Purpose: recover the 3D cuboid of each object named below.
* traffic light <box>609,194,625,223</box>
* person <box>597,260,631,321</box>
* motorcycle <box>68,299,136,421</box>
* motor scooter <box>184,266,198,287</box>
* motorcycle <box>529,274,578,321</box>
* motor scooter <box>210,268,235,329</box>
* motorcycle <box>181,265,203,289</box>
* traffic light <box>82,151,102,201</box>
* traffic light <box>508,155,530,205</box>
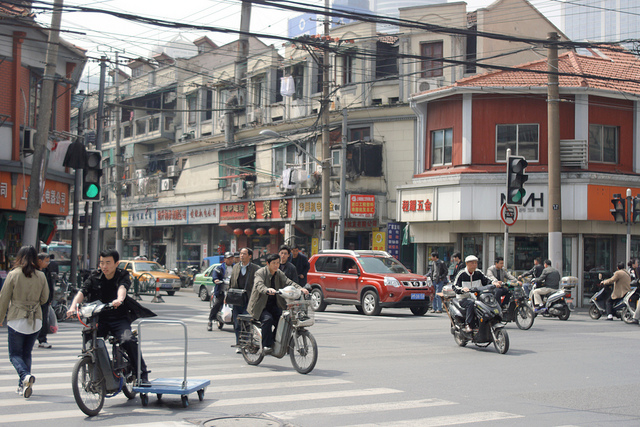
[{"bbox_3d":[12.348,-0.181,41.042,0.551,1.223,2.494,3,9,16],"label":"traffic light"},{"bbox_3d":[11.228,2.939,37.554,1.049,2.308,1.143,3,10,16],"label":"person"},{"bbox_3d":[-5.588,3.650,25.319,1.567,2.787,1.320,-3,10,-20],"label":"motorcycle"},{"bbox_3d":[-7.109,3.459,54.234,0.460,0.858,0.919,3,9,14],"label":"motor scooter"},{"bbox_3d":[8.767,3.153,37.967,1.084,1.733,2.430,1,-4,-33],"label":"motorcycle"},{"bbox_3d":[-3.168,2.697,33.891,0.940,2.316,1.047,1,-1,-18],"label":"motor scooter"},{"bbox_3d":[-7.073,3.457,54.763,1.008,0.972,1.593,-3,-8,43],"label":"motorcycle"},{"bbox_3d":[-7.977,-1.352,34.459,0.611,1.698,0.713,-1,9,-9],"label":"traffic light"},{"bbox_3d":[7.301,-1.265,36.624,0.683,1.780,0.700,2,10,13],"label":"traffic light"}]
